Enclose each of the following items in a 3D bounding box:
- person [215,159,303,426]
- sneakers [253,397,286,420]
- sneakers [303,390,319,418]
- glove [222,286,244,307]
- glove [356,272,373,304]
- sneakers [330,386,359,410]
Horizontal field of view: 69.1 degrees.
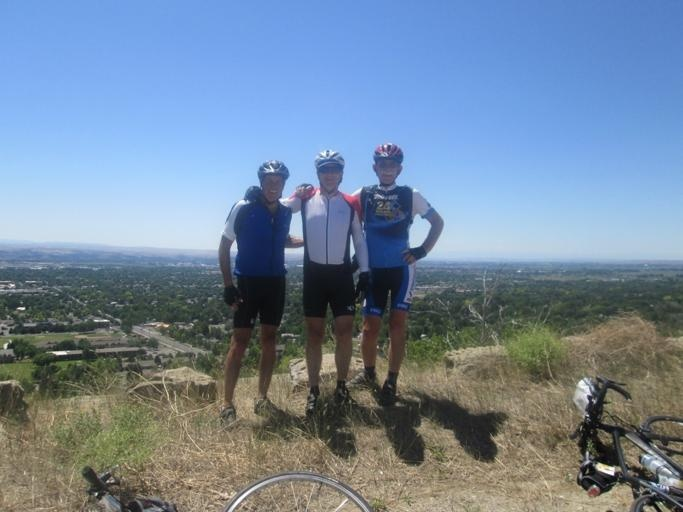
[{"bbox_3d":[-0.966,0.367,5.570,0.825,2.850,0.515,0,4,-17],"label":"person"},{"bbox_3d":[-0.818,1.694,5.583,0.420,0.200,0.150,2,4,44],"label":"sneakers"},{"bbox_3d":[-0.330,1.624,5.483,0.148,0.310,0.277,1,4,-4],"label":"sneakers"},{"bbox_3d":[-1.211,0.427,5.530,0.224,0.335,0.187,2,19,-5],"label":"glove"},{"bbox_3d":[0.253,0.357,5.783,0.089,0.311,0.216,5,-2,2],"label":"glove"},{"bbox_3d":[0.038,1.577,5.613,0.212,0.254,0.244,-5,10,-3],"label":"sneakers"}]
